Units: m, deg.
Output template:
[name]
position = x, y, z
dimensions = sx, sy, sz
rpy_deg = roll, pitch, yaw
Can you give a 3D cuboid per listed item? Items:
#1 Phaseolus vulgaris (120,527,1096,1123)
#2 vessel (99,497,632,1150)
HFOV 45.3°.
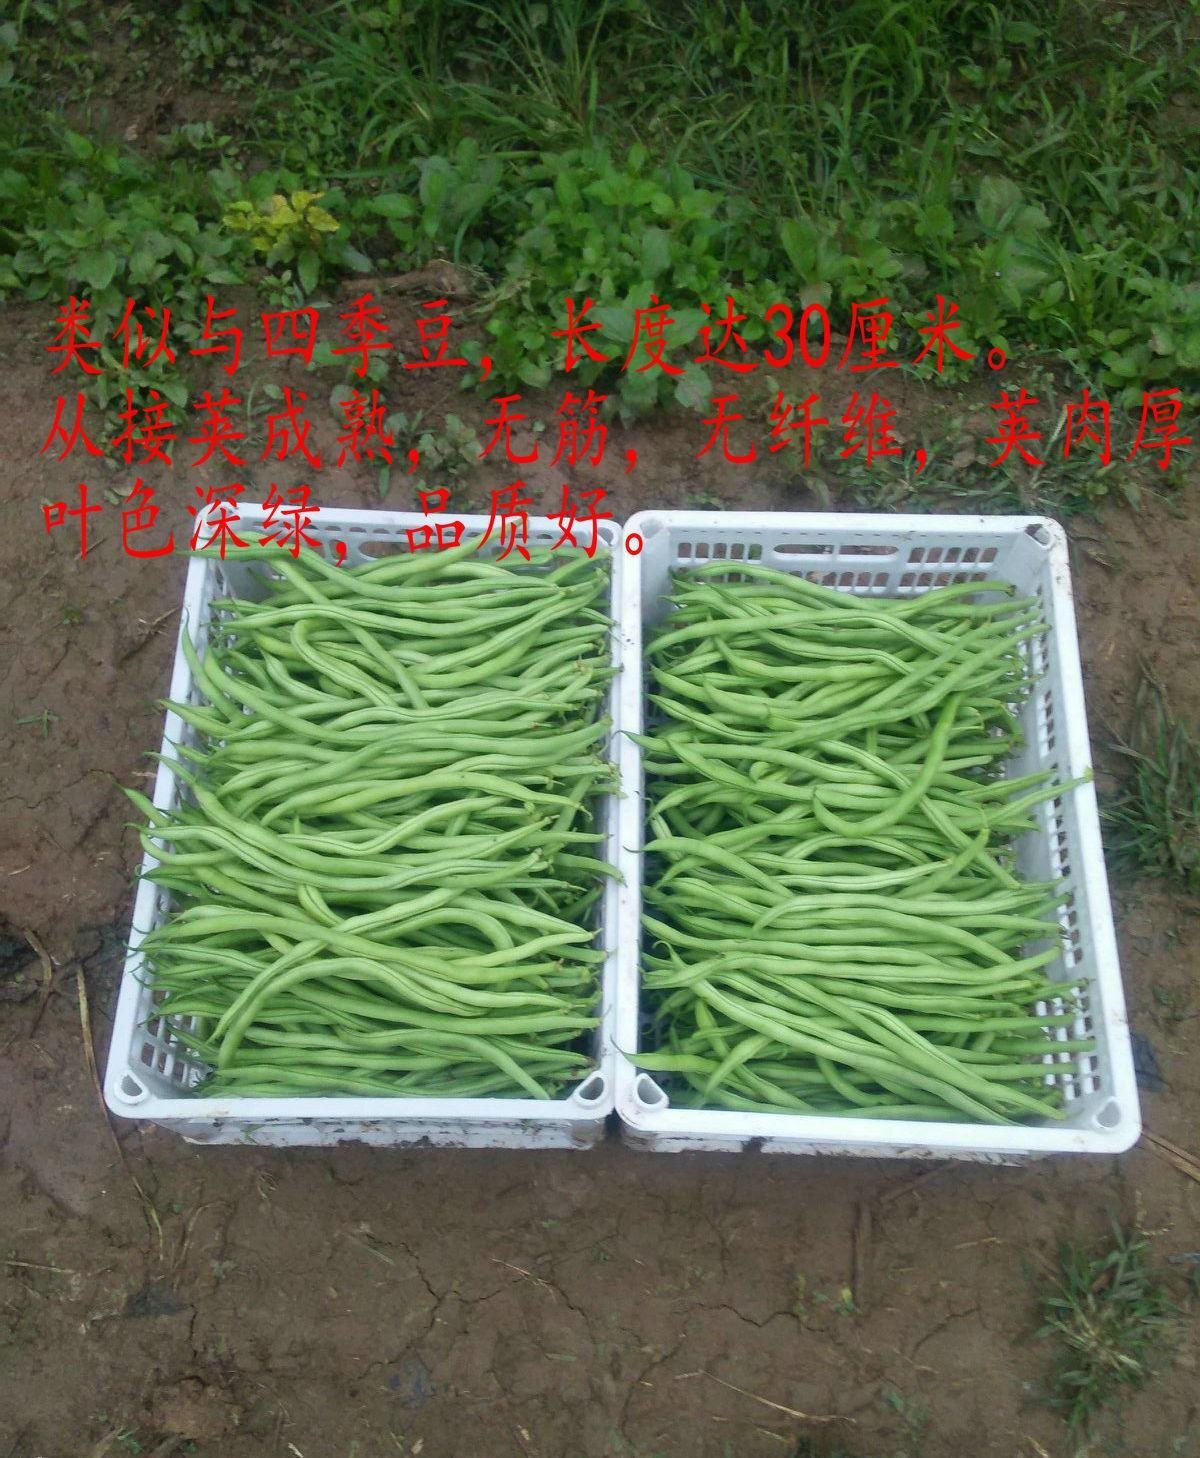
[Phaseolus vulgaris]
position = 0.030, 0.260, 3.351
dimensions = 2.260, 0.463, 1.190
rpy_deg = 1, 77, 0
[vessel]
position = -0.546, 0.209, 3.602
dimensions = 1.318, 0.542, 1.424
rpy_deg = 1, 77, 0
